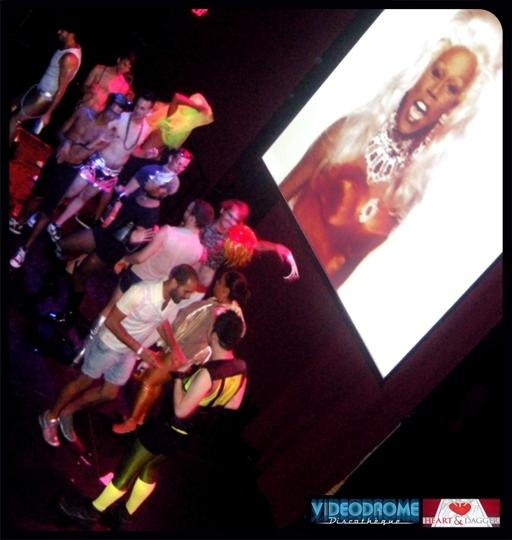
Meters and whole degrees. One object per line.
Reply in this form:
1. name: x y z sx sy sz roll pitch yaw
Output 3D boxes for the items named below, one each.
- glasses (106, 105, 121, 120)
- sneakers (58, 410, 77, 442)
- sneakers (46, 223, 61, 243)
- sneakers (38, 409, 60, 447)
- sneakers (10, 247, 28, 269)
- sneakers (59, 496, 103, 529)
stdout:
1. glasses: -0.826 -0.905 2.704 0.041 0.071 0.032 25 9 -27
2. sneakers: -1.071 0.879 2.655 0.067 0.077 0.199 -10 77 -44
3. sneakers: -1.183 -0.216 2.737 0.049 0.051 0.143 -30 113 -55
4. sneakers: -1.167 0.894 2.705 0.093 0.084 0.221 -1 73 -74
5. sneakers: -1.375 -0.062 2.710 0.052 0.055 0.157 25 56 -34
6. sneakers: -0.989 1.346 2.652 0.225 0.098 0.142 34 55 -10
